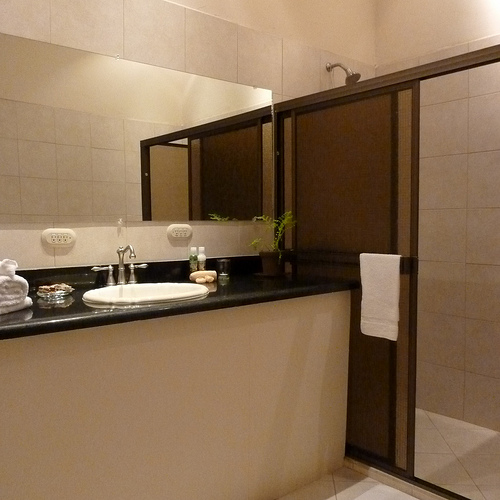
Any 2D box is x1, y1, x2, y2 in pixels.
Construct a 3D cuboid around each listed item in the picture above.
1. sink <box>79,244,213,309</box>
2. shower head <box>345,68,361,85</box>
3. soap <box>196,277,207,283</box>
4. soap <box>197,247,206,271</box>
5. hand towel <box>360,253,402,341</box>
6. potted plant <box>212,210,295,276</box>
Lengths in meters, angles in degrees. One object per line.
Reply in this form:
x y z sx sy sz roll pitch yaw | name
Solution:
-0.411 0.098 1.747 0.504 0.219 0.627 -8 8 -24 | sink
0.604 -1.028 2.631 0.071 0.106 0.188 -2 8 12 | shower head
-0.220 0.137 1.992 0.037 0.023 0.065 -3 8 11 | soap
-0.234 0.045 2.136 0.038 0.108 0.050 -5 7 -18 | soap
0.535 0.190 1.854 0.058 0.338 0.191 -7 8 -37 | hand towel
0.055 -0.030 2.309 0.390 0.329 0.364 -10 9 -42 | potted plant
